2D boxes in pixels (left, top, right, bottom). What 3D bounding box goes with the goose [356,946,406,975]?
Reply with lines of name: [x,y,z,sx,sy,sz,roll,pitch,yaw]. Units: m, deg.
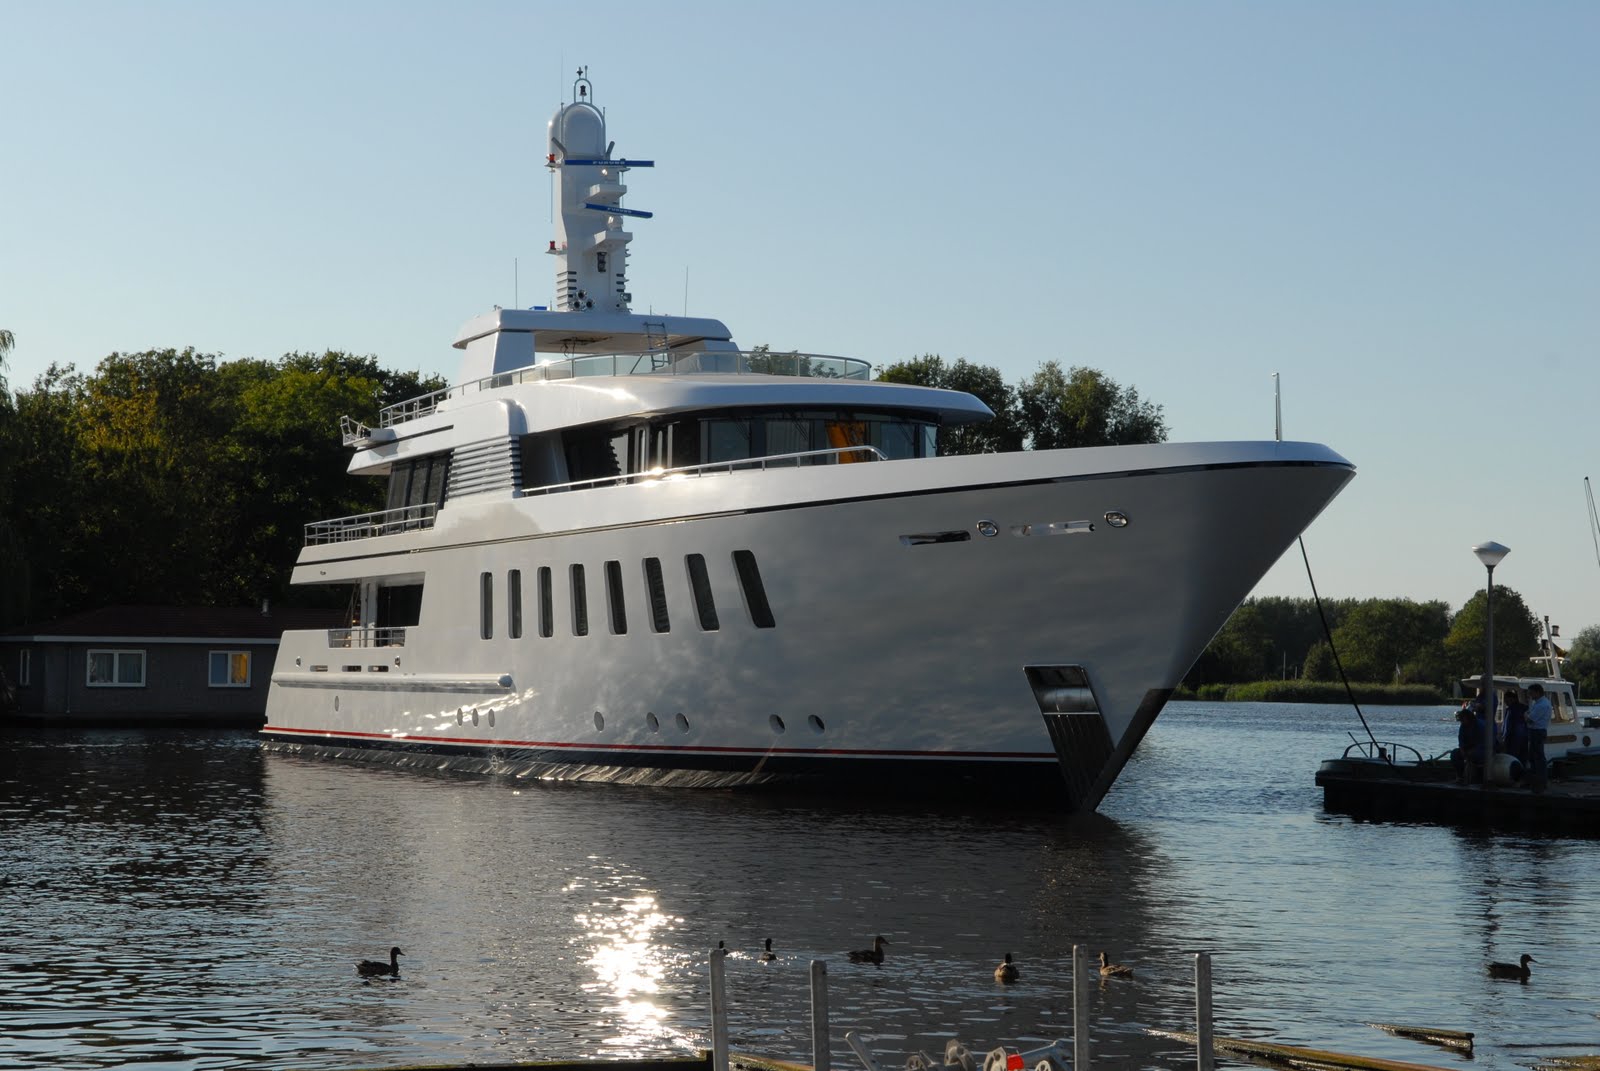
goose: [-4.370,4.461,18.468,0.609,0.390,0.213,-1,-3,5]

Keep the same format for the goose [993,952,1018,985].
goose: [2.112,4.513,18.372,0.206,0.238,0.361,2,-1,8]

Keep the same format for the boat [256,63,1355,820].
boat: [-2.362,-2.250,35.278,6.624,14.994,26.600,7,-4,-38]

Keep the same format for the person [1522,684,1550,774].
person: [12.316,3.285,29.663,0.377,1.383,1.537,3,-3,23]
